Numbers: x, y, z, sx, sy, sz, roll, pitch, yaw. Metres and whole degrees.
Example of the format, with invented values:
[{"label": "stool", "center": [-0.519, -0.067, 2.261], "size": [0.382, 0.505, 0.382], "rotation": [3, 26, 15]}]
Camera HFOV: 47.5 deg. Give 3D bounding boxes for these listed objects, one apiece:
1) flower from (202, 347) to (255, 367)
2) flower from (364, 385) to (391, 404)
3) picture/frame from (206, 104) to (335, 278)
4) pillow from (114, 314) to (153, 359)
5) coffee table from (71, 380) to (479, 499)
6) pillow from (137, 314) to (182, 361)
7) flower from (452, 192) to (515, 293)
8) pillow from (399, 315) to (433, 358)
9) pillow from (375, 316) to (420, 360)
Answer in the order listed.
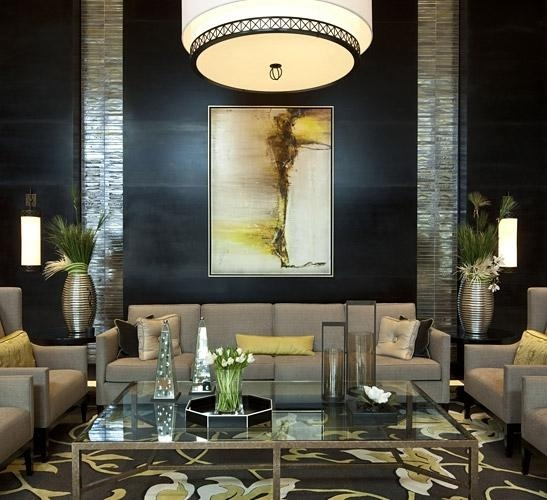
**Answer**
[{"label": "flower", "center": [-0.272, 0.647, 3.749], "size": [0.192, 0.088, 0.187], "rotation": [-2, -4, 31]}, {"label": "flower", "center": [0.631, 0.866, 3.734], "size": [0.137, 0.060, 0.130], "rotation": [8, 4, -16]}, {"label": "picture/frame", "center": [-0.064, -0.603, 5.851], "size": [1.831, 2.099, 0.075], "rotation": [0, -1, -1]}, {"label": "pillow", "center": [-1.176, 0.729, 5.137], "size": [0.294, 0.264, 0.085], "rotation": [-1, -5, -44]}, {"label": "coffee table", "center": [0.010, 1.122, 3.756], "size": [2.226, 0.385, 0.879], "rotation": [0, 9, 0]}, {"label": "pillow", "center": [-0.985, 0.730, 5.247], "size": [0.291, 0.335, 0.510], "rotation": [4, 10, 25]}, {"label": "flower", "center": [1.962, -0.045, 5.755], "size": [0.502, 0.946, 0.961], "rotation": [3, 10, 20]}, {"label": "pillow", "center": [1.200, 0.728, 5.125], "size": [0.085, 0.257, 0.235], "rotation": [12, -9, -41]}, {"label": "pillow", "center": [1.025, 0.730, 5.153], "size": [0.098, 0.305, 0.345], "rotation": [22, -7, -37]}]
